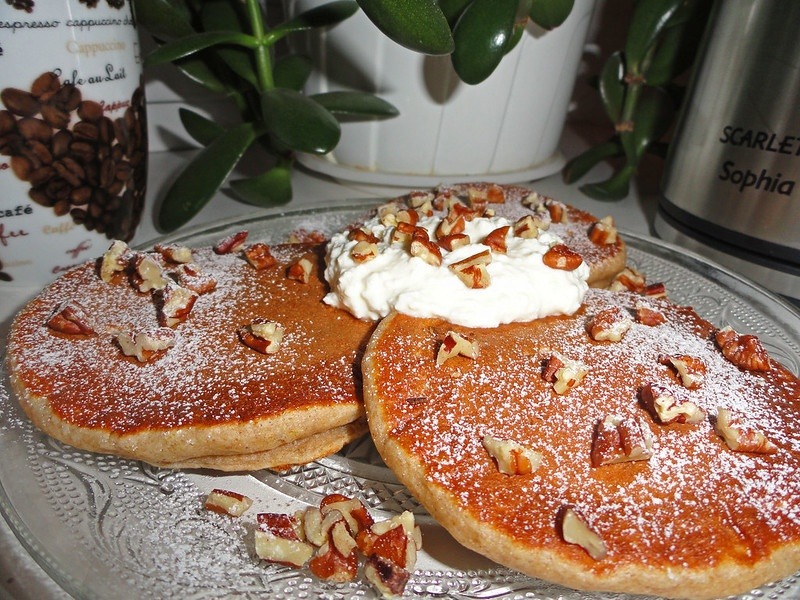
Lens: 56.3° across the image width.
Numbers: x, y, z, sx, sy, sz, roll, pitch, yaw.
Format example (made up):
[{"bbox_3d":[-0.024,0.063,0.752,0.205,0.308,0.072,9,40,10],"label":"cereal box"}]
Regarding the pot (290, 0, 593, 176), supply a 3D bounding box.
[{"bbox_3d":[0.128,-0.671,2.207,0.609,0.456,0.602,1,33,0],"label":"pot"}]
